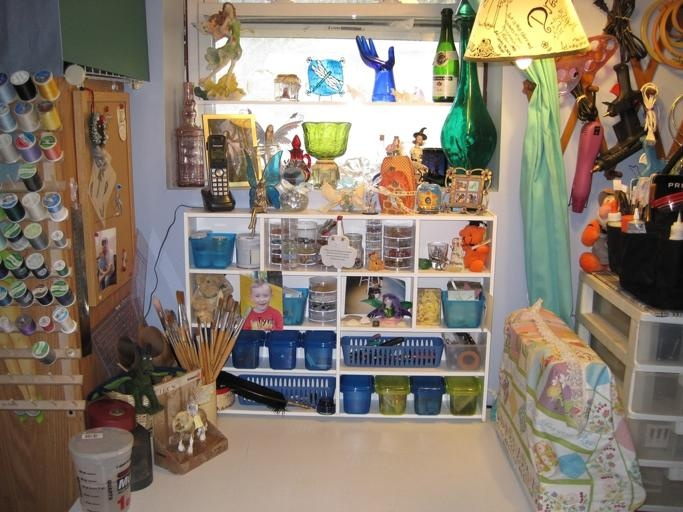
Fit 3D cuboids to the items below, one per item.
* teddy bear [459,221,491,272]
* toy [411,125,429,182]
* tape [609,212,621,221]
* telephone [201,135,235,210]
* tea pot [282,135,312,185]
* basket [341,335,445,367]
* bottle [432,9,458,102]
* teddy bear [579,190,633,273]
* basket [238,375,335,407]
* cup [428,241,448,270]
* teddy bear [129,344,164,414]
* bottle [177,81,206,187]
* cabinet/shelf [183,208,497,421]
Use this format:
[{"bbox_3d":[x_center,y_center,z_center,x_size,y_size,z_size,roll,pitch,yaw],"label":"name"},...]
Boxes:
[{"bbox_3d":[0.709,-0.050,3.028,0.155,0.239,0.192,1,12,12],"label":"teddy bear"},{"bbox_3d":[0.429,-0.546,3.110,0.082,0.279,0.289,1,13,14],"label":"toy"},{"bbox_3d":[1.289,-0.178,2.694,0.041,0.030,0.042,5,15,28],"label":"tape"},{"bbox_3d":[-0.658,-0.428,3.012,0.158,0.393,0.135,-5,12,-14],"label":"telephone"},{"bbox_3d":[-0.231,-0.494,3.031,0.143,0.259,0.136,1,15,0],"label":"tea pot"},{"bbox_3d":[0.276,0.529,3.127,0.532,0.145,0.178,0,6,5],"label":"basket"},{"bbox_3d":[0.562,-1.059,3.061,0.138,0.488,0.094,0,12,8],"label":"bottle"},{"bbox_3d":[1.354,-0.116,2.886,0.262,0.419,0.260,-4,13,-16],"label":"teddy bear"},{"bbox_3d":[-0.322,0.736,3.181,0.493,0.159,0.154,1,-2,-1],"label":"basket"},{"bbox_3d":[0.514,-0.001,3.095,0.113,0.143,0.127,-1,2,1],"label":"cup"},{"bbox_3d":[-0.899,0.555,2.614,0.135,0.289,0.239,-6,13,-21],"label":"teddy bear"},{"bbox_3d":[-0.824,-0.641,3.156,0.103,0.581,0.157,-14,27,-43],"label":"bottle"},{"bbox_3d":[0.183,0.330,4.654,3.164,2.184,0.796,0,9,0],"label":"cabinet/shelf"}]
